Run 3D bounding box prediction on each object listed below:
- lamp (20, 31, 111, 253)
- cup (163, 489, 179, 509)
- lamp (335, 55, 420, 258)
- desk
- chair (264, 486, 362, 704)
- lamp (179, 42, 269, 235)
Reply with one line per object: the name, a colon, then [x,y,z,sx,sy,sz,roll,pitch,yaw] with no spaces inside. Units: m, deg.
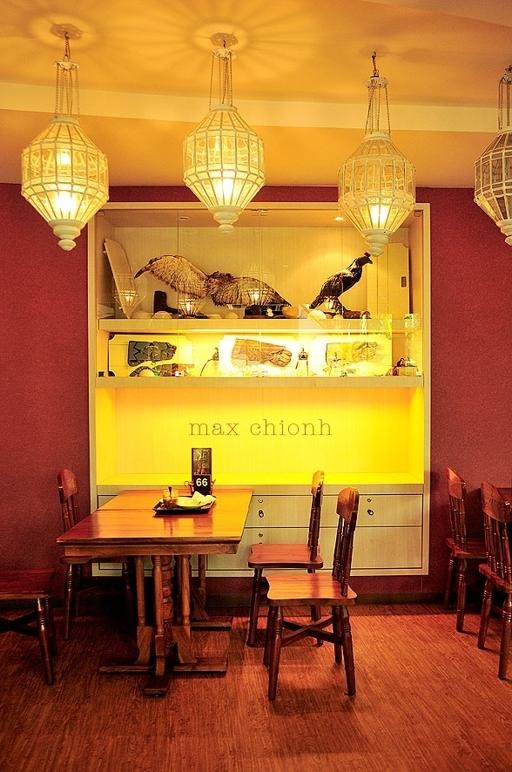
lamp: [-0.709,-0.967,2.483,0.313,0.841,0.294,-3,4,-42]
cup: [-0.458,0.627,3.543,0.074,0.101,0.098,1,-5,-15]
lamp: [0.511,-0.946,2.743,0.285,0.866,0.687,0,-1,12]
desk: [-0.444,1.007,3.252,0.786,0.745,1.003,0,-1,2]
chair: [0.260,0.928,3.198,0.435,0.923,0.814,0,-1,1]
lamp: [-0.125,-0.965,2.528,0.277,0.807,0.719,0,-1,-3]
